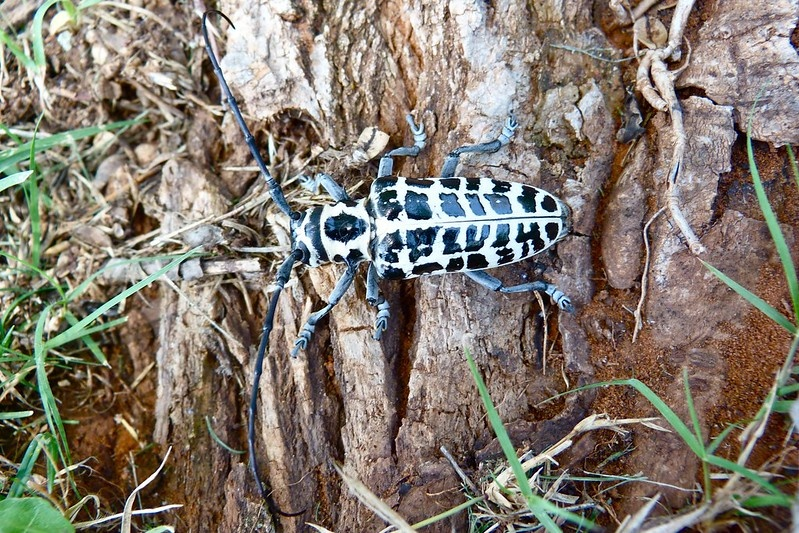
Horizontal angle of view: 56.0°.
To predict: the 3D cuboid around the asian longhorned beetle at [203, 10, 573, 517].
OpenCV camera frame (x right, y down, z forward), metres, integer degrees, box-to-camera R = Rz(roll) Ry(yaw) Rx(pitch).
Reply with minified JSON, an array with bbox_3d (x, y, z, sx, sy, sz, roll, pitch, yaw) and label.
[{"bbox_3d":[0.137,-0.016,5.348,2.055,1.277,0.551,3,11,-1],"label":"asian longhorned beetle"}]
